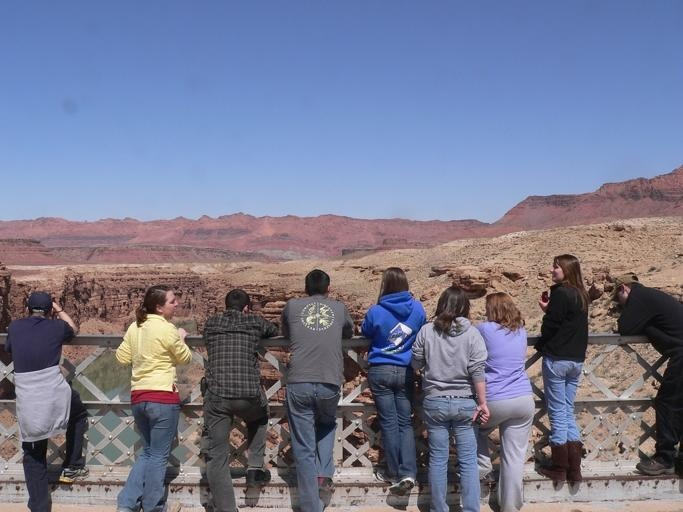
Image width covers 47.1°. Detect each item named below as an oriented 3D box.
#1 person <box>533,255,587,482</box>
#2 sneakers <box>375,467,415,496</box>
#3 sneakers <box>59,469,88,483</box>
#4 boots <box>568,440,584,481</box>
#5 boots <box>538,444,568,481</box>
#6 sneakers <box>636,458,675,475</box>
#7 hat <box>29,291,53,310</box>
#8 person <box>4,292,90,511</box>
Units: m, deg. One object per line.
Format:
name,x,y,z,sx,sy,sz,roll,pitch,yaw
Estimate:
person,2.320,1.182,8.198,0.558,2.406,0.386,-2,-6,10
sneakers,0.512,2.275,8.072,0.481,0.140,0.187,18,22,15
sneakers,-2.778,2.265,8.104,0.323,0.114,0.119,4,-5,-12
boots,2.480,2.176,8.297,0.231,0.382,0.445,4,-18,16
boots,2.245,2.173,8.265,0.231,0.332,0.428,21,-21,-40
sneakers,3.296,2.219,8.273,0.457,0.162,0.143,3,-16,0
hat,-3.113,0.444,8.048,0.205,0.116,0.239,0,12,-16
person,-3.040,1.469,7.987,0.619,2.241,0.579,-2,-6,13
